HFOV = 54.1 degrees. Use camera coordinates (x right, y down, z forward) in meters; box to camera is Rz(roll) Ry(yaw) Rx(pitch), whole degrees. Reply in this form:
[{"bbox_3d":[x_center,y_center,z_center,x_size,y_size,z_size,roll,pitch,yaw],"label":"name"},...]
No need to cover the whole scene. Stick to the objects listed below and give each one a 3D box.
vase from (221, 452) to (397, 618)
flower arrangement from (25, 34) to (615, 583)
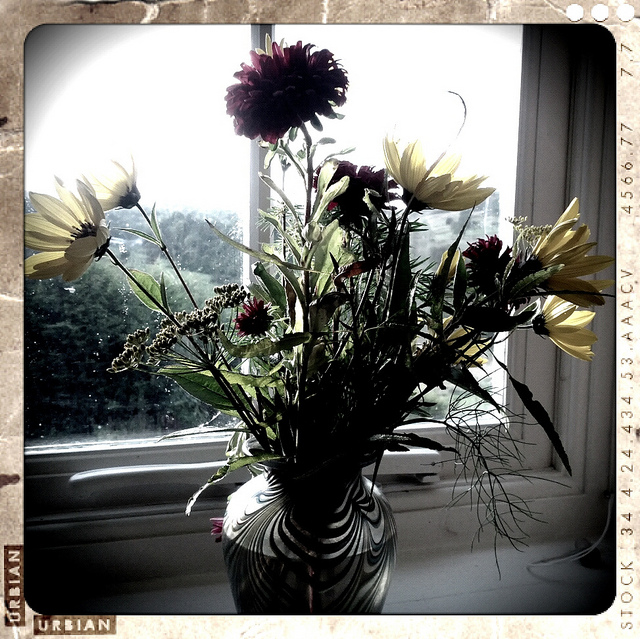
[{"bbox_3d":[-0.009,0.214,0.639,0.164,0.201,0.158,-2,15,-9],"label":"vase"},{"bbox_3d":[-0.045,-0.040,0.626,0.468,0.258,0.411,-2,-21,-35],"label":"flower arrangement"}]
